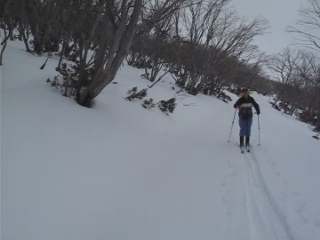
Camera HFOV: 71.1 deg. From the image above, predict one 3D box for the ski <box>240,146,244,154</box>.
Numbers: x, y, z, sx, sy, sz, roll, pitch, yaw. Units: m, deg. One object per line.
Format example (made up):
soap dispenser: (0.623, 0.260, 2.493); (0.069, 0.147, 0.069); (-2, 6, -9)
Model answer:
ski: (2.381, 0.872, 6.494); (0.099, 0.155, 0.048); (-4, -21, 22)

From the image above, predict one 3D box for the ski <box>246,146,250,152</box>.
ski: (2.620, 0.866, 6.680); (0.074, 0.108, 0.135); (11, 19, -19)

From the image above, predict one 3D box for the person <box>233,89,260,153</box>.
person: (2.679, -0.006, 6.904); (0.723, 1.165, 1.144); (14, 17, -10)
